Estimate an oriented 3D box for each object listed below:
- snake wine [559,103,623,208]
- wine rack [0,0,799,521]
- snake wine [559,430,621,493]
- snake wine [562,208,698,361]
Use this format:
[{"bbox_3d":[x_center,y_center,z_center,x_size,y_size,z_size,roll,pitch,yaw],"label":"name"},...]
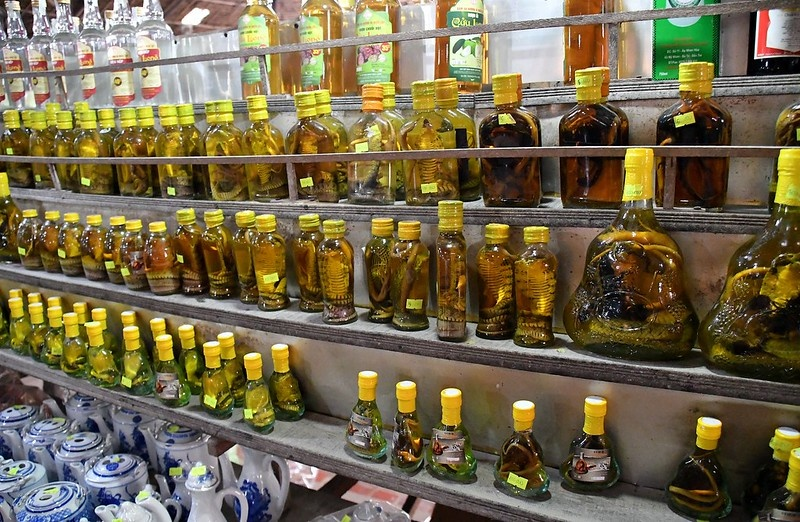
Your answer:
[{"bbox_3d":[0.514,-0.283,1.536,0.160,0.280,0.110,-1,16,17],"label":"snake wine"},{"bbox_3d":[0.021,0.031,1.754,2.154,0.725,0.504,0,-3,29],"label":"wine rack"},{"bbox_3d":[0.524,0.548,1.554,0.168,0.221,0.072,3,21,16],"label":"snake wine"},{"bbox_3d":[0.603,0.065,1.460,0.355,0.441,0.199,8,15,28],"label":"snake wine"}]
